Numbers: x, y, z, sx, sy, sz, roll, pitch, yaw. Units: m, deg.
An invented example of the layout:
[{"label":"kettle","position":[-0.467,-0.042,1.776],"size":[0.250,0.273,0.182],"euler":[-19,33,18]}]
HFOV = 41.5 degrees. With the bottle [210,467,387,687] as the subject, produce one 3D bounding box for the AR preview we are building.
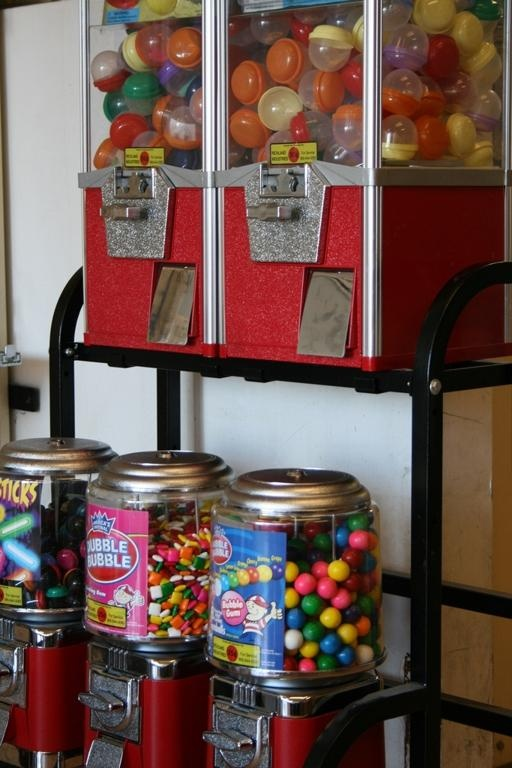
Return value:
[{"label":"bottle","position":[0.050,0.209,0.791],"size":[0.192,0.222,0.196],"euler":[0,-3,-5]}]
